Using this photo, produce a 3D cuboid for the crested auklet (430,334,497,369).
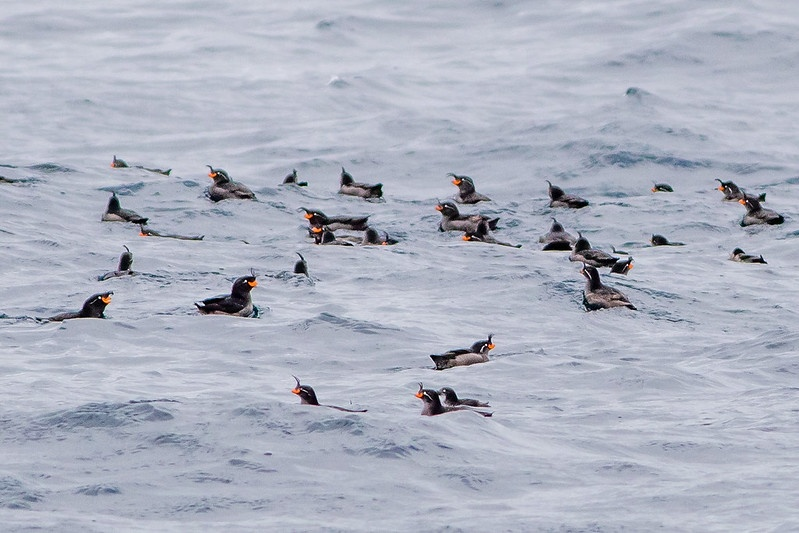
[{"bbox_3d":[1.605,2.168,34.734,1.709,0.672,0.642,-5,108,-18],"label":"crested auklet"}]
